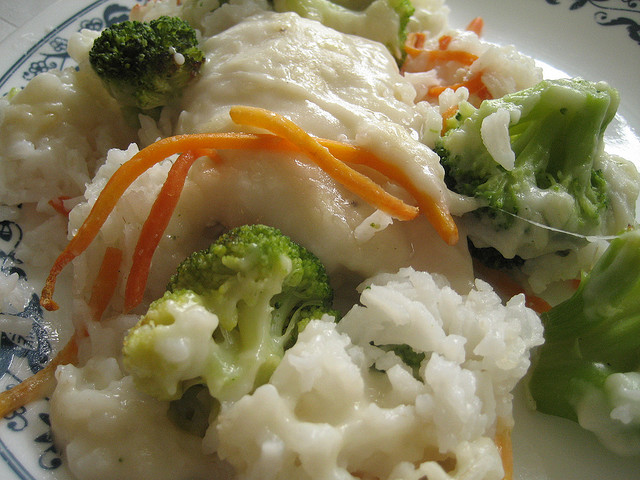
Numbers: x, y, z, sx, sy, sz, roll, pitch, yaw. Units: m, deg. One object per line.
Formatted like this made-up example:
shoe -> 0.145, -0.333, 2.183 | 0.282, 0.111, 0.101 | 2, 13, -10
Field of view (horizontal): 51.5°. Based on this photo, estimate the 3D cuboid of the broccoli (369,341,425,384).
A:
broccoli -> 0.334, 0.448, 2.561 | 0.156, 0.046, 0.168 | -28, 93, 2

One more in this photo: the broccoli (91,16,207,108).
broccoli -> -0.735, -0.772, 2.963 | 0.361, 0.266, 0.402 | -13, 38, 2

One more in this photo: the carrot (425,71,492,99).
carrot -> 0.698, -0.762, 3.355 | 0.329, 0.146, 0.098 | -9, 42, 3

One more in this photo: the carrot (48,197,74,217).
carrot -> -1.197, -0.159, 3.058 | 0.098, 0.034, 0.080 | 25, 69, 16

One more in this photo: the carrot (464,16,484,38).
carrot -> 0.903, -1.240, 3.866 | 0.107, 0.105, 0.209 | 9, 30, 28

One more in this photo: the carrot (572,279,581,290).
carrot -> 1.136, 0.190, 2.930 | 0.007, 0.037, 0.035 | -4, 40, -18

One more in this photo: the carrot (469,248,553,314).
carrot -> 0.821, 0.173, 2.810 | 0.321, 0.042, 0.076 | 42, 53, 13
